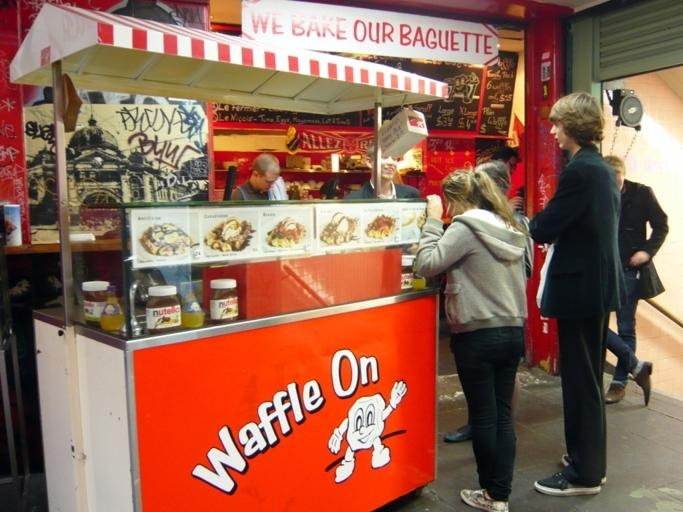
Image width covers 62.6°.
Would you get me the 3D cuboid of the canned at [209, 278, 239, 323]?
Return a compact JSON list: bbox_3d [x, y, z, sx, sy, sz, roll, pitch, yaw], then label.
[{"bbox_3d":[-0.581,0.227,2.788,0.146,0.184,0.118,-9,-10,17],"label":"canned"}]
